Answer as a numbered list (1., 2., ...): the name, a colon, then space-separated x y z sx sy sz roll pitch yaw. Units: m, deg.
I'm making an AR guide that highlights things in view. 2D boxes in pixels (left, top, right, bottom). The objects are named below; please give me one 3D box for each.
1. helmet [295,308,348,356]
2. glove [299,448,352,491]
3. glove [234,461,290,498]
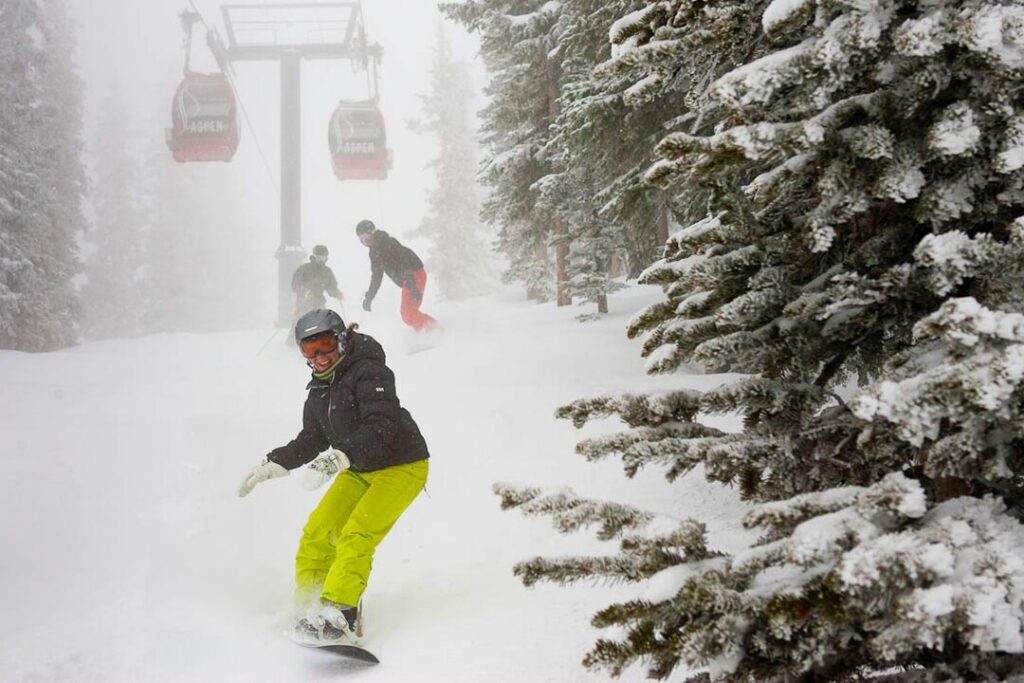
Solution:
1. helmet: -2.457 -0.138 13.767 0.436 0.557 0.588 -15 10 10
2. glove: -2.354 1.640 13.502 0.654 0.385 0.270 -42 -14 -13
3. glove: -3.230 1.832 13.884 0.420 0.290 0.701 20 33 39
